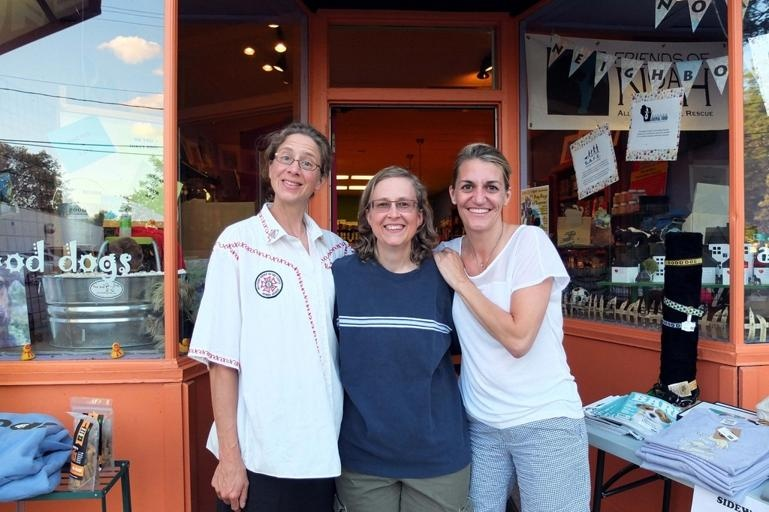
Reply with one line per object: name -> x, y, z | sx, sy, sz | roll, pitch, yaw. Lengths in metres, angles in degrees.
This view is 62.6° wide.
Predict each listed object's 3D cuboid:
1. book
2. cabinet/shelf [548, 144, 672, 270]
book -> 1.269, 0.818, 3.254 | 0.263, 0.066, 0.272 | 10, 16, 44
cabinet/shelf -> 1.494, -0.317, 4.110 | 0.249, 0.821, 0.855 | 1, 0, -27
